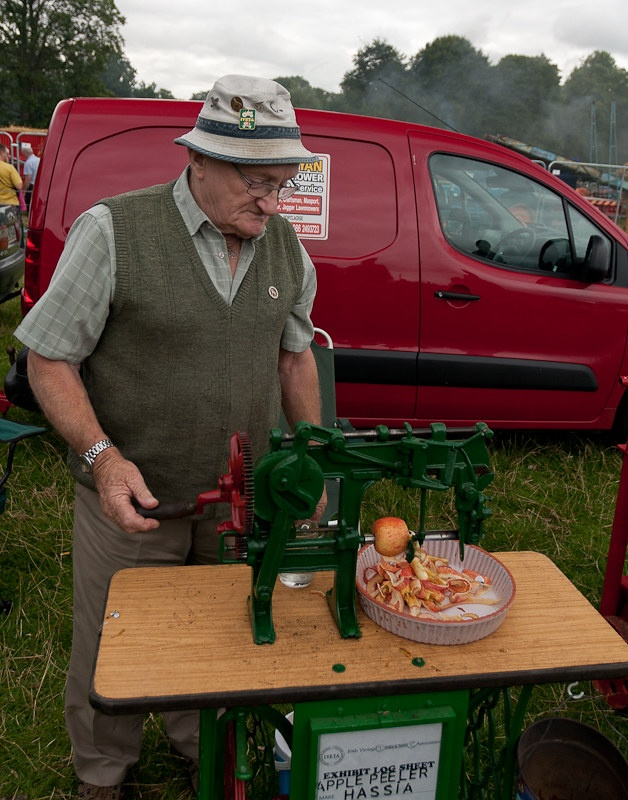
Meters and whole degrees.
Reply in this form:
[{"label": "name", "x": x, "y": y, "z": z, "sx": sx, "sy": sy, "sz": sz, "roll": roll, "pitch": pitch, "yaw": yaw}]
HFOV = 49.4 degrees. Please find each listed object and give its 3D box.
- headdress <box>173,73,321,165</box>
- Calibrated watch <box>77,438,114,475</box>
[{"label": "headdress", "x": -0.163, "y": -0.669, "z": 1.633, "sx": 0.319, "sy": 0.207, "sz": 0.118, "roll": 1, "pitch": 12, "yaw": -12}, {"label": "Calibrated watch", "x": -0.526, "y": 0.134, "z": 1.645, "sx": 0.071, "sy": 0.073, "sz": 0.047, "roll": -34, "pitch": 77, "yaw": -28}]
